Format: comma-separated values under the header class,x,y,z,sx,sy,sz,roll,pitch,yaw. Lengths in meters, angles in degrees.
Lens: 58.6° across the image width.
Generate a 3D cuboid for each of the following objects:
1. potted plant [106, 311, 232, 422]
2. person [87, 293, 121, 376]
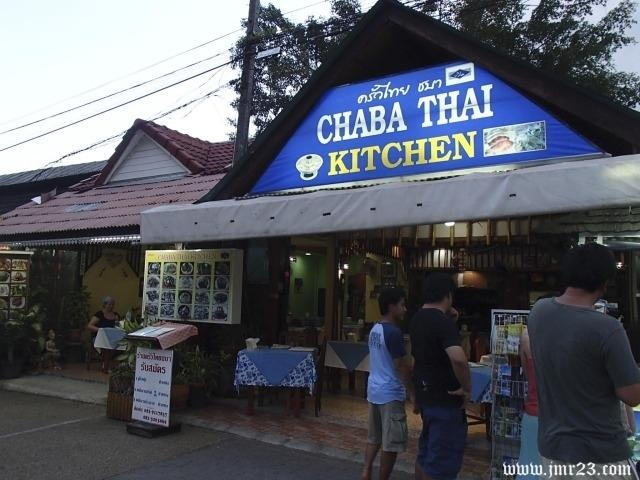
class,x,y,z,sx,sy,sz,roll,pitch,yaw
potted plant,-2.949,2.236,10.603,1.763,1.148,1.768,3,-8,-31
person,-4.975,2.243,13.282,0.686,1.743,0.696,0,-10,-37
